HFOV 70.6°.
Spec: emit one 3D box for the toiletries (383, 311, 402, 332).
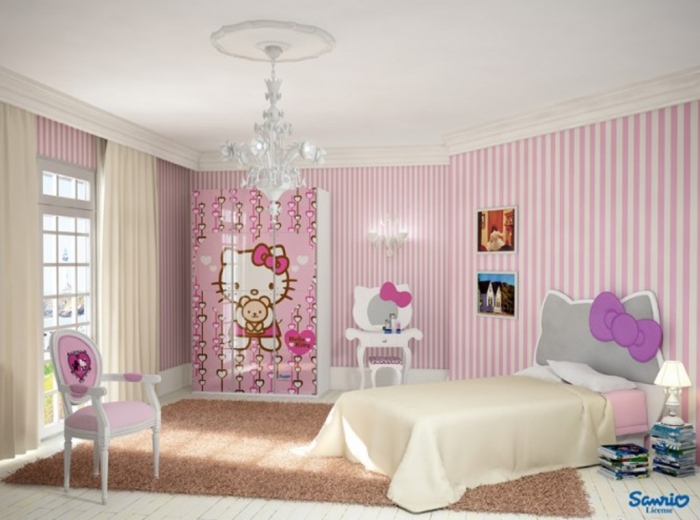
[{"bbox_3d":[0.606,0.860,6.833,0.240,0.251,0.119,0,-8,9],"label":"toiletries"}]
